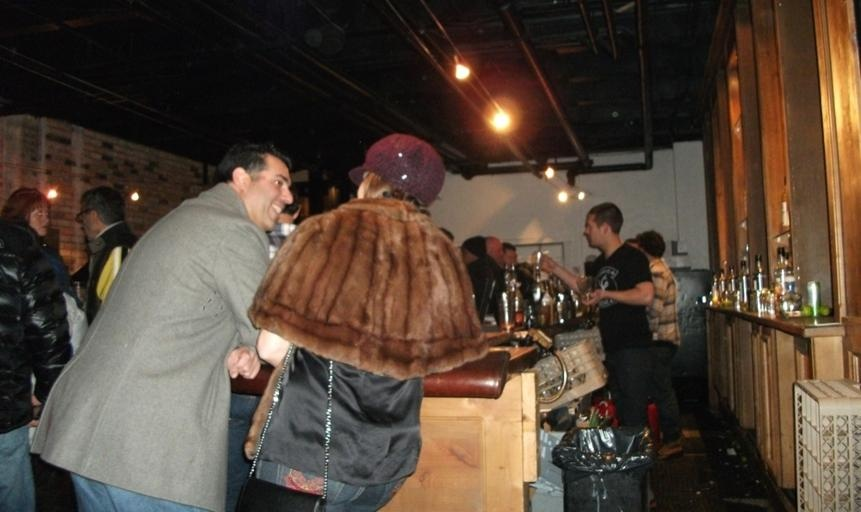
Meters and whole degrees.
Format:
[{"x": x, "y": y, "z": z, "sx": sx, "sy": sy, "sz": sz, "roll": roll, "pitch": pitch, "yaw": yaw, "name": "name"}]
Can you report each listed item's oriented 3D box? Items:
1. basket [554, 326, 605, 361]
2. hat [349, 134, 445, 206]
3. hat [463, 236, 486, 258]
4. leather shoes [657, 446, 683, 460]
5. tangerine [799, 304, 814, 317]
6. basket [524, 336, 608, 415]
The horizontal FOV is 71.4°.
[{"x": 1.396, "y": 0.773, "z": 5.643, "sx": 0.439, "sy": 0.148, "sz": 0.449, "roll": -15, "pitch": -15, "yaw": 26, "name": "basket"}, {"x": -0.144, "y": -0.512, "z": 3.401, "sx": 0.485, "sy": 0.257, "sz": 0.363, "roll": 26, "pitch": 16, "yaw": 6, "name": "hat"}, {"x": 0.482, "y": -0.080, "z": 6.164, "sx": 0.231, "sy": 0.175, "sz": 0.228, "roll": -16, "pitch": -16, "yaw": -19, "name": "hat"}, {"x": 2.471, "y": 2.029, "z": 6.216, "sx": 0.315, "sy": 0.149, "sz": 0.080, "roll": 11, "pitch": -16, "yaw": -25, "name": "leather shoes"}, {"x": 2.938, "y": 0.432, "z": 4.689, "sx": 0.077, "sy": 0.096, "sz": 0.077, "roll": -5, "pitch": -17, "yaw": 31, "name": "tangerine"}, {"x": 1.082, "y": 0.917, "z": 4.575, "sx": 0.381, "sy": 0.570, "sz": 0.778, "roll": -7, "pitch": -18, "yaw": 35, "name": "basket"}]
